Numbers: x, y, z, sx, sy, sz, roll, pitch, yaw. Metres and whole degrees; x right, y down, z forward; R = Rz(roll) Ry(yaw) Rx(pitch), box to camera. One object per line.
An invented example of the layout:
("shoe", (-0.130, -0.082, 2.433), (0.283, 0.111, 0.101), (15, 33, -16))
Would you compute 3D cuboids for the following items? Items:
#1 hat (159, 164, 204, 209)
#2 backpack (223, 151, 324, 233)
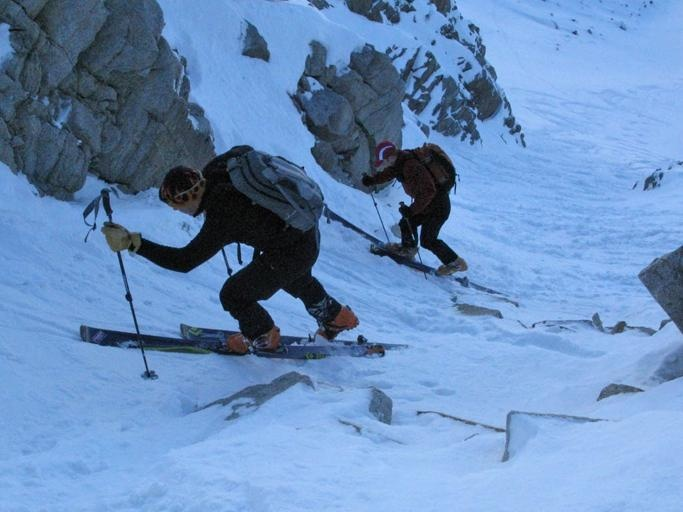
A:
("hat", (-1.730, -0.730, 7.910), (0.384, 0.460, 0.346), (45, -8, -12))
("backpack", (-0.662, -0.714, 8.099), (1.052, 0.339, 0.781), (30, 31, -28))
